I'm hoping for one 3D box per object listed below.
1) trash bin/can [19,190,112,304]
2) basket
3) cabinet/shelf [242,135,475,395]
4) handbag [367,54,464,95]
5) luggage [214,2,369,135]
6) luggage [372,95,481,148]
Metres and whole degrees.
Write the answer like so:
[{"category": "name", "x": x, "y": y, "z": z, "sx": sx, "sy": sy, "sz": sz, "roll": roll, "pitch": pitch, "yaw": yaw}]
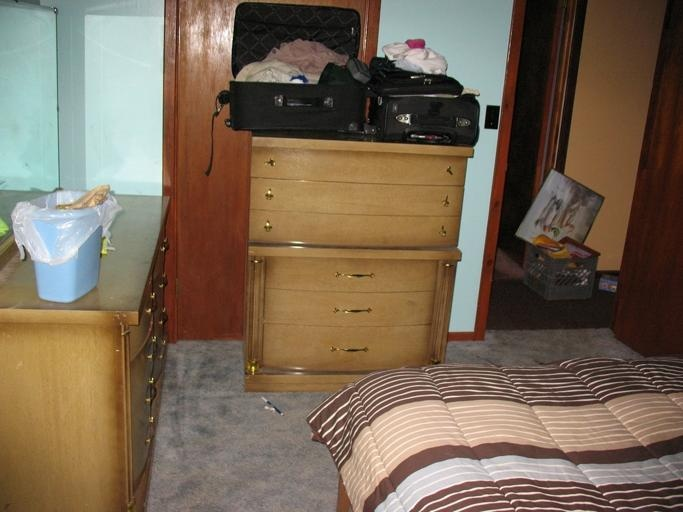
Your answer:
[{"category": "trash bin/can", "x": -0.943, "y": -0.015, "z": 1.991, "sx": 0.283, "sy": 0.330, "sz": 0.339, "roll": 5, "pitch": 17, "yaw": -5}, {"category": "basket", "x": 1.829, "y": 0.109, "z": 5.034, "sx": 0.570, "sy": 0.447, "sz": 0.554, "roll": -9, "pitch": 24, "yaw": -29}, {"category": "cabinet/shelf", "x": 0.015, "y": 0.044, "z": 3.390, "sx": 1.259, "sy": 1.402, "sz": 0.643, "roll": 2, "pitch": 14, "yaw": -15}, {"category": "handbag", "x": 0.373, "y": -0.957, "z": 3.115, "sx": 0.343, "sy": 0.113, "sz": 0.243, "roll": 0, "pitch": 26, "yaw": 0}, {"category": "luggage", "x": -0.264, "y": -1.042, "z": 3.187, "sx": 0.801, "sy": 0.723, "sz": 0.545, "roll": 2, "pitch": 15, "yaw": -9}, {"category": "luggage", "x": 0.468, "y": -0.741, "z": 3.108, "sx": 0.438, "sy": 0.185, "sz": 0.310, "roll": 0, "pitch": 21, "yaw": -6}]
